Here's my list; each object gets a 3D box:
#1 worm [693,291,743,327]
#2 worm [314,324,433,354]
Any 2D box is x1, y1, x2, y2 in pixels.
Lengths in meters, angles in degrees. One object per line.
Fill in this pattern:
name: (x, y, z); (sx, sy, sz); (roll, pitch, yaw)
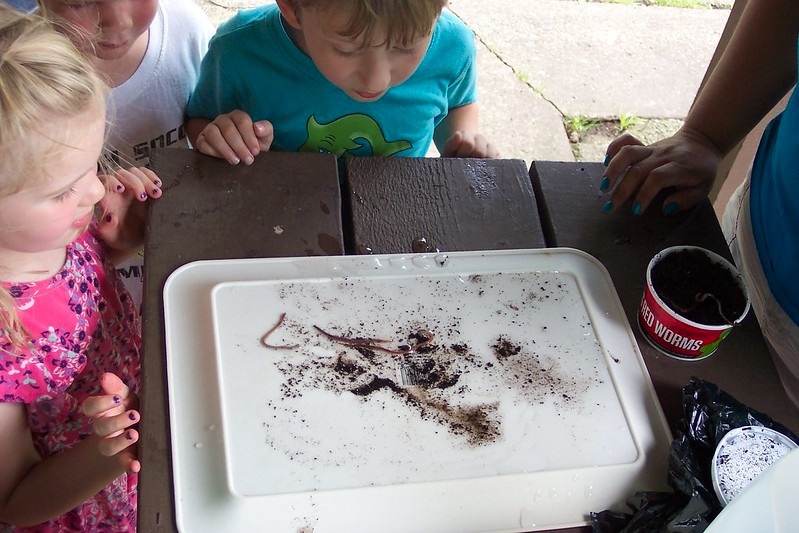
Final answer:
worm: (0.598, 0.074, 1.209); (0.041, 0.017, 0.080); (-37, 77, -23)
worm: (-0.049, 0.162, 1.259); (0.227, 0.028, 0.087); (4, 44, 1)
